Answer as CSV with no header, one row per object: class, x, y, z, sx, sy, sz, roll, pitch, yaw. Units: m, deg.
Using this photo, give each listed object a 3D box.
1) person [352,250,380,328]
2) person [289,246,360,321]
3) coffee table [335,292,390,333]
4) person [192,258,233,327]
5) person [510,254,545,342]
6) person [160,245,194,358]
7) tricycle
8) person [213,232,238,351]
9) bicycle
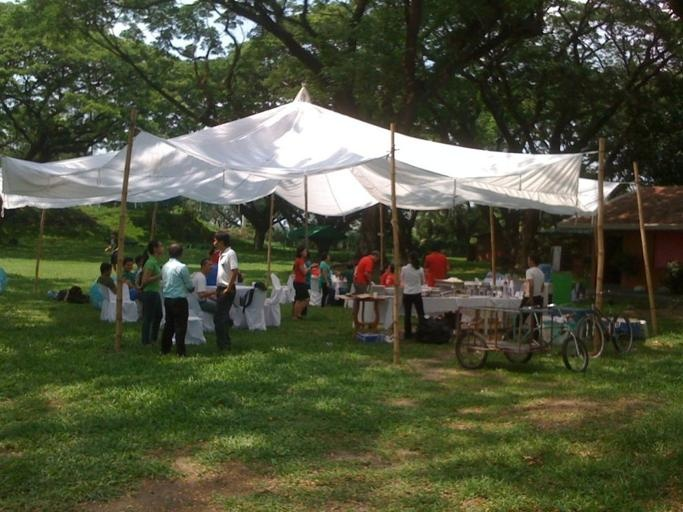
person,0.624,0.791,19.231,0.613,2.013,0.684,4,13,-9
person,-0.554,0.846,22.581,0.994,2.860,0.840,0,0,-3
coffee table,0.601,1.389,17.443,1.311,0.894,1.298,-1,-2,0
person,-3.005,0.803,16.077,0.708,1.600,0.495,0,0,-21
person,4.056,0.853,15.537,0.598,2.111,0.787,-2,7,0
person,-3.180,0.831,14.498,0.674,1.992,0.935,0,0,24
tricycle,3.524,1.704,14.967,2.172,1.453,0.611,1,0,9
person,-2.399,0.715,14.978,0.468,2.463,0.804,0,-2,-16
bicycle,5.603,1.454,15.410,1.864,1.229,0.876,1,-8,-34
